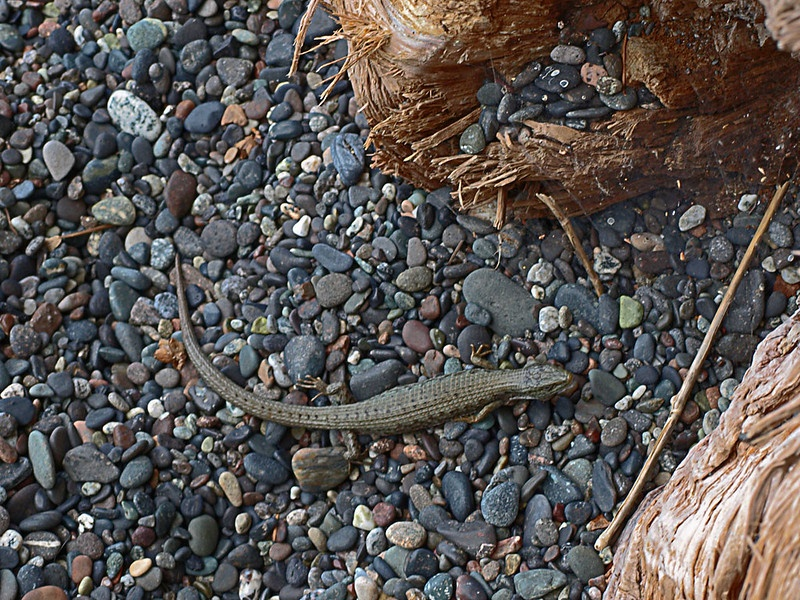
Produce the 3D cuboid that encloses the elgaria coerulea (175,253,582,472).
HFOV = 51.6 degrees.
[{"bbox_3d":[-0.105,0.276,2.844,1.102,0.209,0.593,3,73,16],"label":"elgaria coerulea"}]
